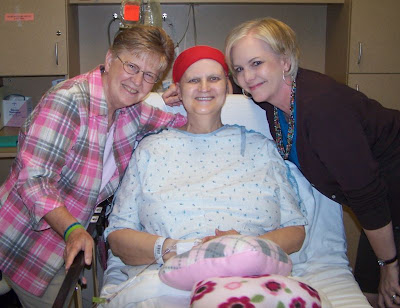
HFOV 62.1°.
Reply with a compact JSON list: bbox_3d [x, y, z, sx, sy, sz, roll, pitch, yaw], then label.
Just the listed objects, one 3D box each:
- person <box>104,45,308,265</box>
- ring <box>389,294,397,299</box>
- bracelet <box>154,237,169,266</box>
[{"bbox_3d":[0.038,-0.012,1.813,1.045,1.299,0.799,0,-6,-10],"label":"person"},{"bbox_3d":[0.999,0.740,1.719,0.014,0.022,0.019,22,17,35],"label":"ring"},{"bbox_3d":[-0.174,0.454,1.510,0.029,0.098,0.077,-6,-12,23],"label":"bracelet"}]
